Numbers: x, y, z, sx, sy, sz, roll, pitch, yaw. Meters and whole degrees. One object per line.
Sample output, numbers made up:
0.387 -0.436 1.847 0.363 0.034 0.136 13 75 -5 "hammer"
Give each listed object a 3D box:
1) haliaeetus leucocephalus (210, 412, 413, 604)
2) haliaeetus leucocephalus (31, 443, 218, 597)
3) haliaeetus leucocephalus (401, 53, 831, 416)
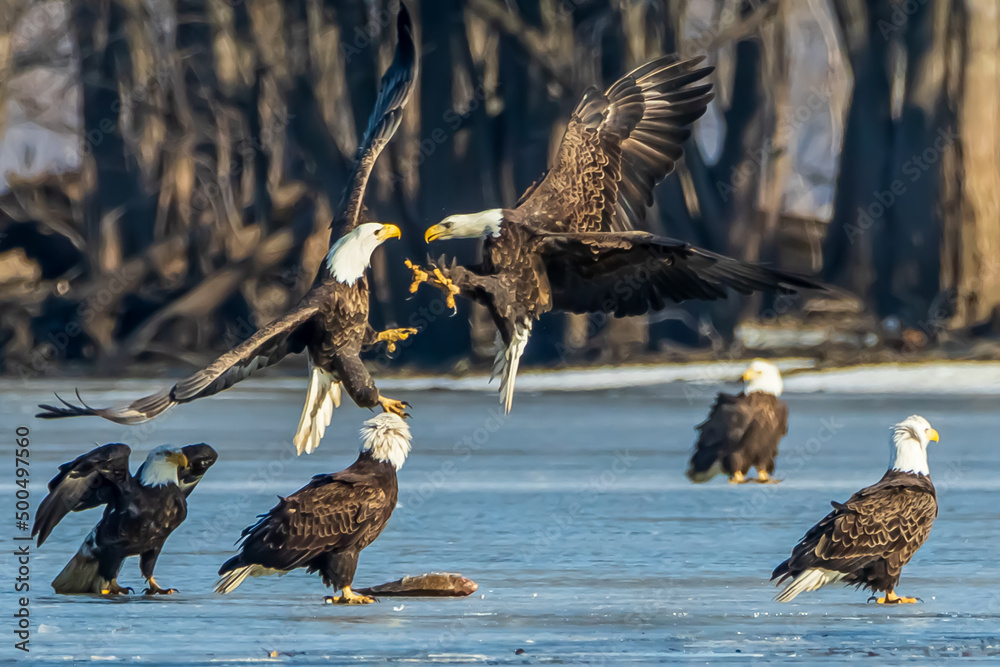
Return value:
-2.047 1.856 26.292 2.258 1.855 1.058 1 -8 -17 "haliaeetus leucocephalus"
-4.100 2.077 26.430 1.784 1.427 2.317 -15 -18 41 "haliaeetus leucocephalus"
1.016 -1.271 27.833 4.155 2.435 6.124 12 6 1 "haliaeetus leucocephalus"
